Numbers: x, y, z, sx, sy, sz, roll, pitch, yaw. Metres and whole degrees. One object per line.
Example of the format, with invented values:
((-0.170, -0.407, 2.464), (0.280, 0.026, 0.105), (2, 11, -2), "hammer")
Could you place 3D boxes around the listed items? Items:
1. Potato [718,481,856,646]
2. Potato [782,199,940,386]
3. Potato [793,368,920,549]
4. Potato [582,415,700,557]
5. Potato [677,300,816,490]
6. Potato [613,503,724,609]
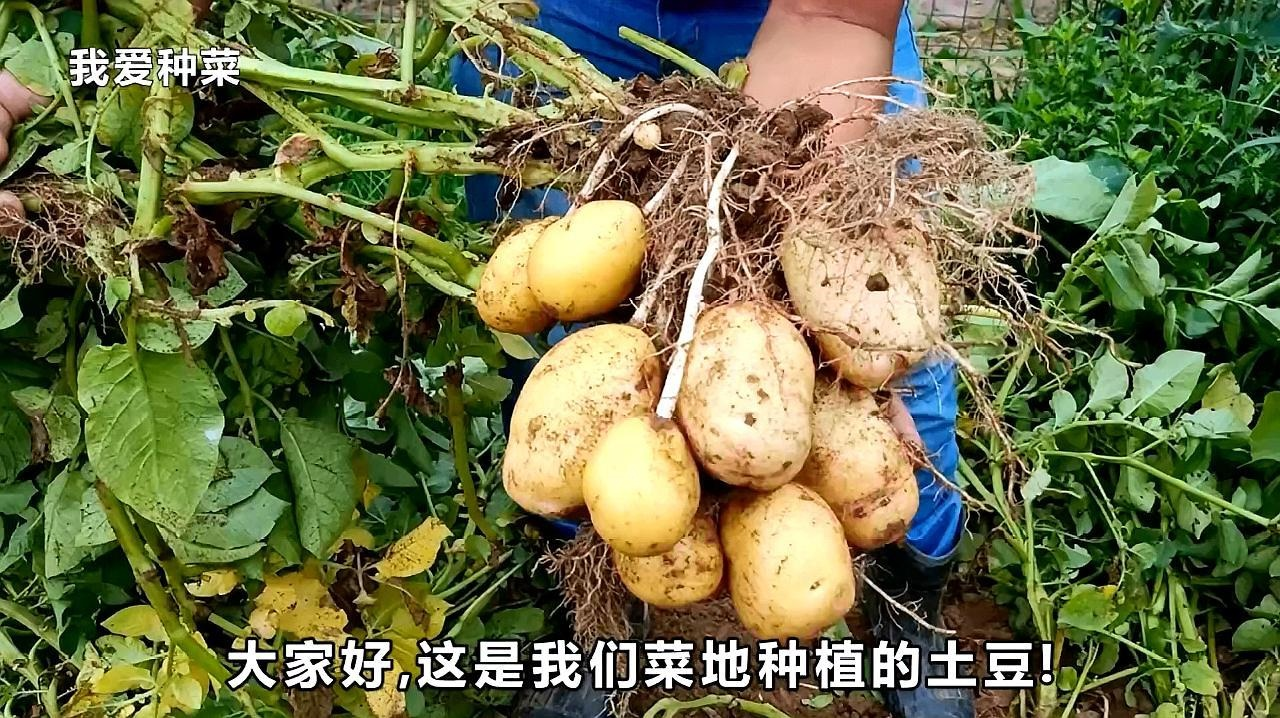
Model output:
((0.291, 0.446, 2.165), (0.270, 0.259, 0.334), (-10, 71, 1), "Potato")
((0.501, -0.152, 2.219), (0.296, 0.215, 0.374), (-31, 86, 8), "Potato")
((0.446, 0.221, 2.234), (0.245, 0.217, 0.371), (-13, 89, -26), "Potato")
((0.002, 0.268, 2.126), (0.281, 0.246, 0.332), (-4, 49, -7), "Potato")
((0.228, 0.075, 2.163), (0.297, 0.279, 0.359), (9, 90, 3), "Potato")
((0.083, 0.416, 2.163), (0.206, 0.108, 0.219), (2, 89, 10), "Potato")
